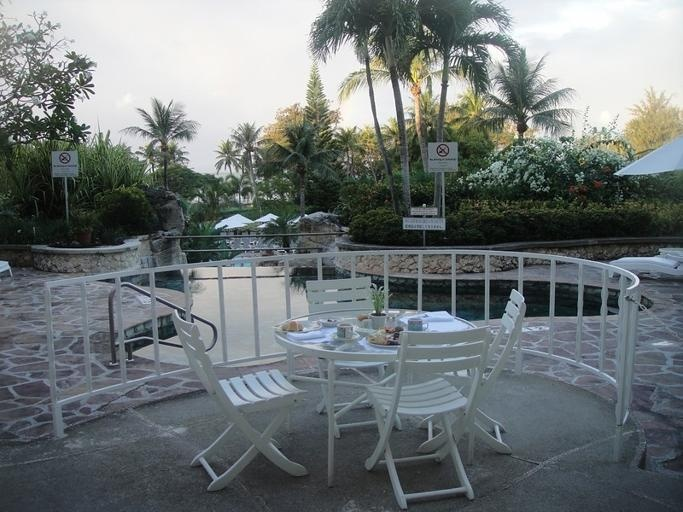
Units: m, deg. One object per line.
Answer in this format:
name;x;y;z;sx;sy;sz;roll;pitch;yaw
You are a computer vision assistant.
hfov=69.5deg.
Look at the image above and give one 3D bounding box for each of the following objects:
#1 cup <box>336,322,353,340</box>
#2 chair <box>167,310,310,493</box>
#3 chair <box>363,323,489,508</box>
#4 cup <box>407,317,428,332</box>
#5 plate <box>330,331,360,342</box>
cup;0.027;0.558;3.688;0.077;0.074;0.123;-2;6;-16
chair;-0.803;0.937;4.064;1.197;1.633;1.012;-4;6;-20
chair;0.583;1.012;3.390;0.795;1.129;0.572;-2;7;-8
cup;0.588;0.522;3.758;0.128;0.081;0.080;1;-1;-19
plate;0.030;0.603;3.653;0.220;0.035;0.132;-1;6;0
